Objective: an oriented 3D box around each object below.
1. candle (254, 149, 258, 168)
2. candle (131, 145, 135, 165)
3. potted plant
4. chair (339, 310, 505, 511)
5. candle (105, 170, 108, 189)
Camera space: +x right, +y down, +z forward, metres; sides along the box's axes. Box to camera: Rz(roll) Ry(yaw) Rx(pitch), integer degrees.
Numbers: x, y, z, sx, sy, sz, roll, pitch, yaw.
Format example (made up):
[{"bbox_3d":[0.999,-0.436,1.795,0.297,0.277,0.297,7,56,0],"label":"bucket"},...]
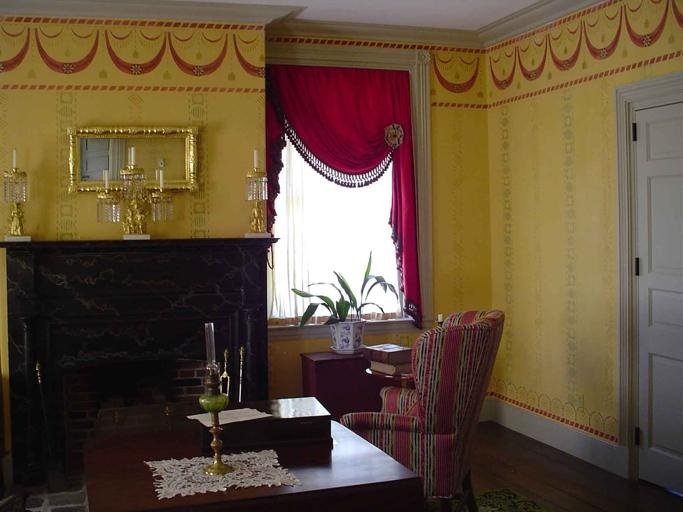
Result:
[{"bbox_3d":[-0.590,-0.674,4.206,0.039,0.122,0.195,1,5,-8],"label":"candle"},{"bbox_3d":[-1.400,-0.678,4.081,0.036,0.133,0.182,0,6,-18],"label":"candle"},{"bbox_3d":[0.010,0.314,4.813,0.705,0.668,0.744,0,-2,-21],"label":"potted plant"},{"bbox_3d":[0.552,0.791,3.861,0.960,1.496,0.958,-1,-4,24],"label":"chair"},{"bbox_3d":[-1.564,-0.517,4.051,0.034,0.117,0.176,0,6,-22],"label":"candle"}]
